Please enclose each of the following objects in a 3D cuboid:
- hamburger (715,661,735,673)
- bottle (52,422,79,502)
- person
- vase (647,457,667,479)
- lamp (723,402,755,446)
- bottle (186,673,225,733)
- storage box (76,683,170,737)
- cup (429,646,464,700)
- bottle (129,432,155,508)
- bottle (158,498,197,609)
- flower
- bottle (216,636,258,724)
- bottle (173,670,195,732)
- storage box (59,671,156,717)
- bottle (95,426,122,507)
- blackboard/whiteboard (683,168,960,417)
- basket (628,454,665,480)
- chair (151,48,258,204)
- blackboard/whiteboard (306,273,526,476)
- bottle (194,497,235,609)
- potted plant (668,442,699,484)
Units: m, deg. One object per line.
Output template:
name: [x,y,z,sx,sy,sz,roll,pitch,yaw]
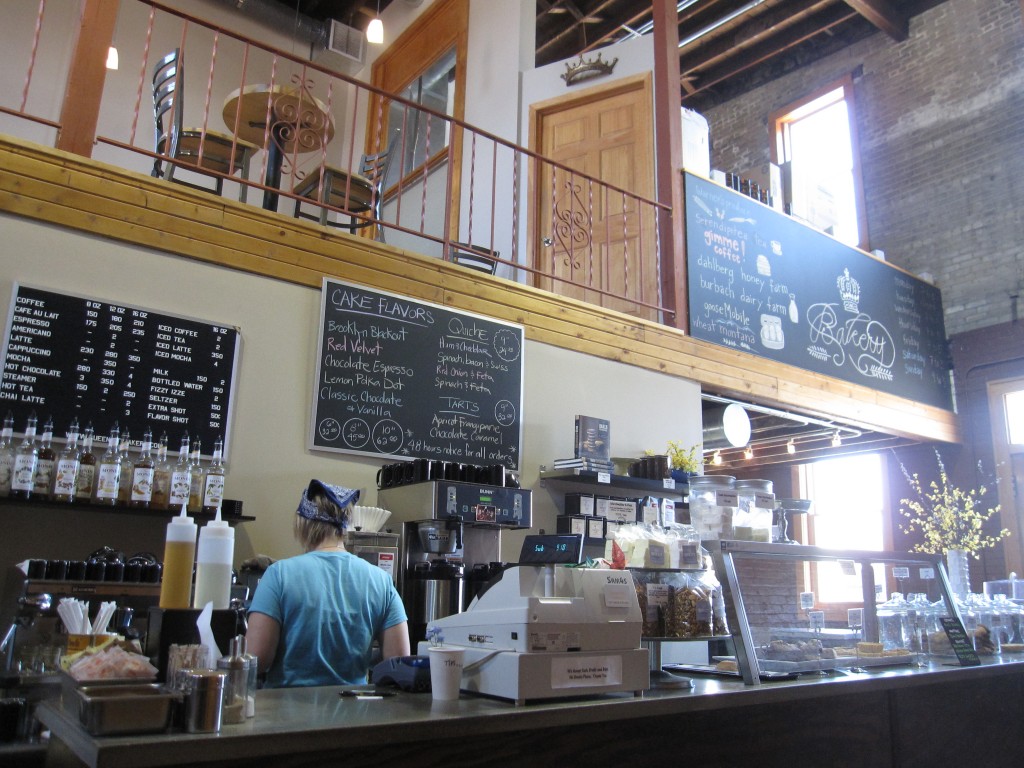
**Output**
hamburger: [0.857,1.123,3.040,0.077,0.034,0.158,-4,-14,14]
bottle: [-2.214,0.396,3.805,0.107,0.388,0.227,8,-15,-31]
person: [-0.770,0.975,3.226,0.644,1.103,0.503,8,-10,-23]
vase: [1.086,0.621,5.600,0.164,0.237,0.128,1,-1,15]
lamp: [1.943,0.367,6.618,0.073,0.346,0.327,-1,-3,29]
bottle: [-0.800,0.830,2.000,0.083,0.146,0.087,5,-15,1]
storage box: [-0.965,0.819,1.908,0.132,0.062,0.165,5,0,29]
cup: [-0.208,0.935,2.461,0.126,0.154,0.133,0,-14,0]
bottle: [-1.909,0.445,3.962,0.113,0.379,0.240,6,-15,-26]
bottle: [-0.988,0.527,2.274,0.075,0.266,0.062,10,-17,-37]
flower: [4.696,1.265,8.168,1.016,1.189,1.368,-7,-15,26]
bottle: [-0.750,0.810,2.109,0.080,0.216,0.254,-1,-13,4]
bottle: [-0.856,0.825,1.998,0.042,0.172,0.045,-7,-16,-2]
storage box: [-1.057,0.792,2.004,0.161,0.065,0.186,4,-6,-15]
bottle: [-2.045,0.414,3.891,0.110,0.408,0.230,7,-15,-28]
blackboard/whiteboard: [3.124,-0.774,7.644,4.207,1.535,0.084,12,-16,-33]
basket: [0.995,0.612,5.669,0.263,0.270,0.150,-2,-7,43]
chair: [-2.254,-1.689,5.456,0.647,1.066,0.605,9,-17,-41]
blackboard/whiteboard: [-0.672,-0.031,4.930,1.212,0.929,0.026,13,-22,-35]
bottle: [-0.897,0.530,2.308,0.099,0.287,0.195,5,-14,-21]
potted plant: [1.271,0.604,5.699,0.265,0.355,0.242,-5,-16,31]
